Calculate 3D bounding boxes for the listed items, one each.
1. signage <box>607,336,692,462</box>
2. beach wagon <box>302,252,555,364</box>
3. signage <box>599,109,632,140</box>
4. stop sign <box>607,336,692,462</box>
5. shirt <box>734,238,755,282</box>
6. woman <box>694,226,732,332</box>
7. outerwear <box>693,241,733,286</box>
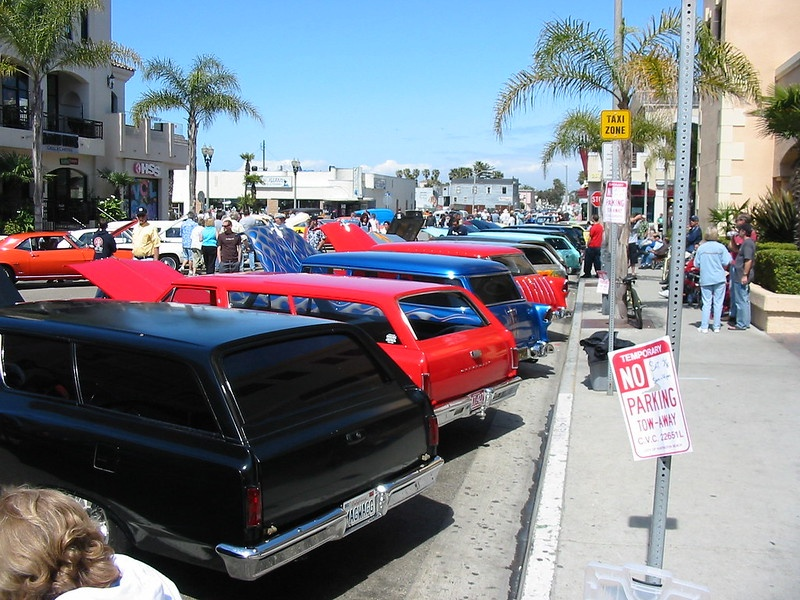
[{"bbox_3d":[1.506,0.609,3.564,0.510,0.812,0.178,10,10,21],"label":"signage"},{"bbox_3d":[0.437,-0.172,9.894,3.888,1.336,1.811,4,9,31],"label":"beach wagon"},{"bbox_3d":[4.171,-3.435,11.390,0.529,0.609,0.917,9,9,20],"label":"signage"},{"bbox_3d":[1.506,0.609,3.564,0.510,0.812,0.178,10,10,21],"label":"stop sign"},{"bbox_3d":[7.466,-0.855,12.781,0.346,0.980,0.700,11,10,28],"label":"shirt"},{"bbox_3d":[6.875,-0.428,12.920,0.860,2.252,0.659,1,1,40],"label":"woman"},{"bbox_3d":[6.729,-0.772,12.726,0.648,1.000,0.490,10,10,25],"label":"outerwear"}]
